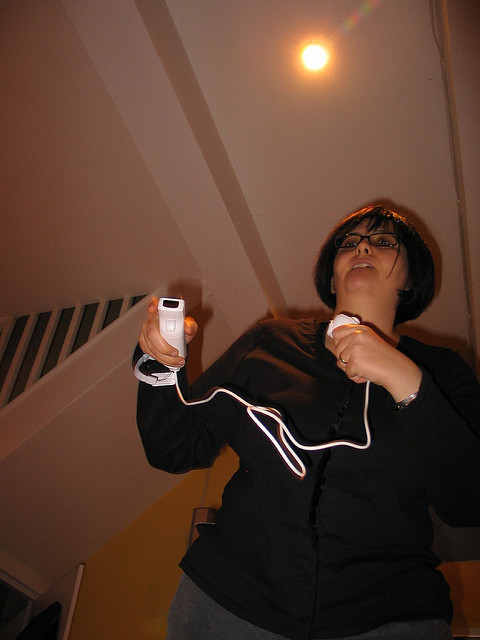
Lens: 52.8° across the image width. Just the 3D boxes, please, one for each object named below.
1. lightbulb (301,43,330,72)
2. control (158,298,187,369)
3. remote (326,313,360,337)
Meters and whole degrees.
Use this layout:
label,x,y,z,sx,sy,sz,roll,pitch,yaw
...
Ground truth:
label,x,y,z,sx,sy,sz,roll,pitch,yaw
lightbulb,0.284,-0.977,1.807,0.099,0.054,0.092,-20,-42,26
control,-0.134,0.019,0.959,0.056,0.086,0.107,3,-37,-1
remote,0.202,0.003,0.947,0.029,0.033,0.078,16,-29,-5
